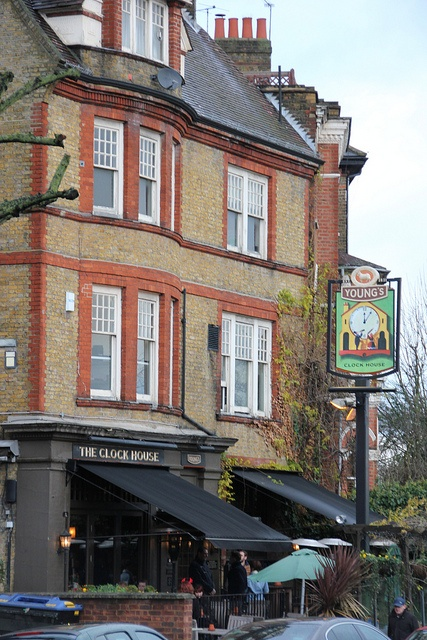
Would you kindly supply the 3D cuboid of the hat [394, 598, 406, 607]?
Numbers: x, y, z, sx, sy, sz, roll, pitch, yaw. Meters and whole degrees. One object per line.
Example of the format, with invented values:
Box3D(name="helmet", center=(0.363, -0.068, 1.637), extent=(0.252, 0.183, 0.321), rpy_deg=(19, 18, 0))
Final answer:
Box3D(name="hat", center=(3.283, 4.998, 31.838), extent=(0.174, 0.187, 0.309), rpy_deg=(-2, -14, 18))
